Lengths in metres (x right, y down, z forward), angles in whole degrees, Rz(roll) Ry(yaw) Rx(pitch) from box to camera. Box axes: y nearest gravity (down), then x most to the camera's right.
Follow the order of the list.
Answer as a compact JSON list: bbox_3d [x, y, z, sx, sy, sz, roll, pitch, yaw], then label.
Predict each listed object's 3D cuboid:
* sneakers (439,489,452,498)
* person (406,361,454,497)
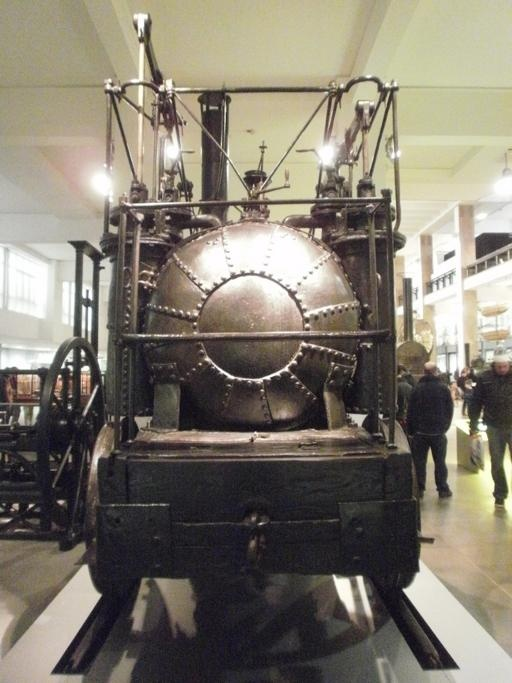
[{"bbox_3d":[2.035,1.624,6.273,0.116,0.101,0.073,11,-11,-13],"label":"sneakers"},{"bbox_3d":[1.903,0.950,6.459,0.471,1.441,0.639,-1,-2,35],"label":"person"}]
